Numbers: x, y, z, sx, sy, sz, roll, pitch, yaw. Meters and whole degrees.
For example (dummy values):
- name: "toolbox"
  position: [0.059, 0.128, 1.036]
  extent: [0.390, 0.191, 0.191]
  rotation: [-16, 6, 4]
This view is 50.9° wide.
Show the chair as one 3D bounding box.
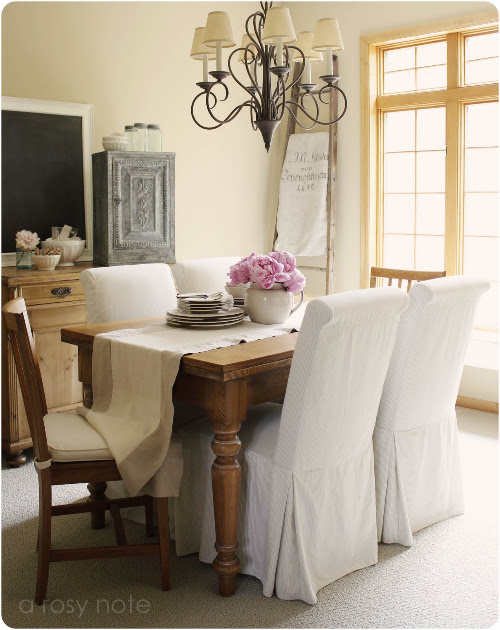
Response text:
- name: "chair"
  position: [0.239, 0.360, 1.739]
  extent: [1.297, 0.954, 0.700]
  rotation: [-1, 3, -33]

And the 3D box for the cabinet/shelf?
- name: "cabinet/shelf"
  position: [-0.661, -0.614, 3.268]
  extent: [0.420, 0.745, 0.242]
  rotation: [-1, -15, -12]

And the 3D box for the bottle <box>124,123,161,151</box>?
- name: "bottle"
  position: [-0.655, -1.085, 3.249]
  extent: [0.171, 0.215, 0.194]
  rotation: [1, 6, 12]

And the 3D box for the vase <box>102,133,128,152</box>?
- name: "vase"
  position: [-0.799, -0.989, 3.106]
  extent: [0.118, 0.082, 0.113]
  rotation: [-4, 9, -32]

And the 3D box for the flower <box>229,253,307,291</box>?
- name: "flower"
  position: [0.076, -0.155, 2.020]
  extent: [0.163, 0.103, 0.178]
  rotation: [5, -5, -24]

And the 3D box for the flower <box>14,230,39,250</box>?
- name: "flower"
  position: [-1.179, -0.387, 2.823]
  extent: [0.081, 0.106, 0.199]
  rotation: [0, 2, -5]

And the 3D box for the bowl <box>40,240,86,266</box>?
- name: "bowl"
  position: [-1.061, -0.324, 3.029]
  extent: [0.159, 0.133, 0.158]
  rotation: [0, 5, 0]

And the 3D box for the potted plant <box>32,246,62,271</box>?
- name: "potted plant"
  position: [-1.099, -0.271, 2.811]
  extent: [0.136, 0.114, 0.136]
  rotation: [0, 0, -43]

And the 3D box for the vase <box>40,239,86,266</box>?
- name: "vase"
  position: [-1.046, -0.371, 3.011]
  extent: [0.151, 0.138, 0.169]
  rotation: [1, 4, 20]

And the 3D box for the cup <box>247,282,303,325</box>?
- name: "cup"
  position: [0.088, -0.035, 2.072]
  extent: [0.157, 0.137, 0.129]
  rotation: [7, -5, -21]

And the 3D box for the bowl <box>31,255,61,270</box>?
- name: "bowl"
  position: [-1.080, -0.271, 2.771]
  extent: [0.089, 0.071, 0.098]
  rotation: [2, -3, 0]
